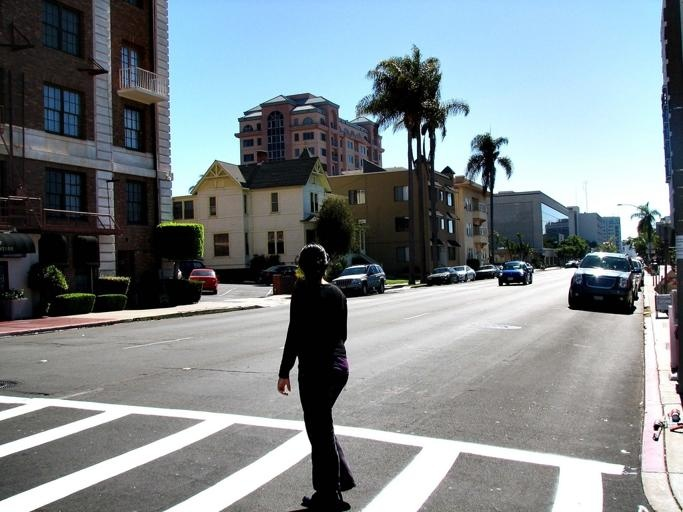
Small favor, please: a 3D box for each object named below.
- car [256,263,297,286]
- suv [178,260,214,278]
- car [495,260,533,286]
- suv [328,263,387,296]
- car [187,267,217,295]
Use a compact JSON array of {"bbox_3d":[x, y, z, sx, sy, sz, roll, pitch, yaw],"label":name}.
[{"bbox_3d":[-5.302,1.686,45.140,1.588,1.368,3.663,0,3,40],"label":"car"},{"bbox_3d":[-11.318,0.833,41.574,2.037,1.335,1.370,-3,0,-9],"label":"suv"},{"bbox_3d":[14.001,1.400,44.710,1.615,1.572,2.959,1,6,21],"label":"car"},{"bbox_3d":[1.168,1.494,36.057,1.555,1.693,3.688,-3,-5,22],"label":"suv"},{"bbox_3d":[-8.897,1.623,36.625,1.359,1.209,3.285,0,2,0],"label":"car"}]
